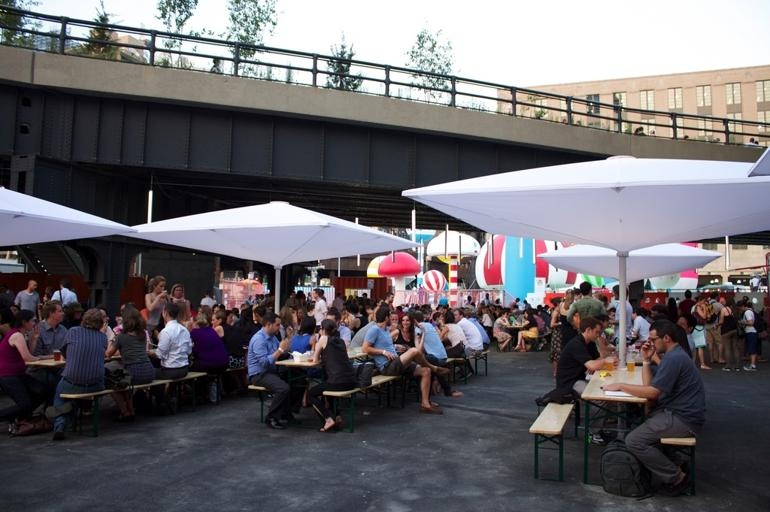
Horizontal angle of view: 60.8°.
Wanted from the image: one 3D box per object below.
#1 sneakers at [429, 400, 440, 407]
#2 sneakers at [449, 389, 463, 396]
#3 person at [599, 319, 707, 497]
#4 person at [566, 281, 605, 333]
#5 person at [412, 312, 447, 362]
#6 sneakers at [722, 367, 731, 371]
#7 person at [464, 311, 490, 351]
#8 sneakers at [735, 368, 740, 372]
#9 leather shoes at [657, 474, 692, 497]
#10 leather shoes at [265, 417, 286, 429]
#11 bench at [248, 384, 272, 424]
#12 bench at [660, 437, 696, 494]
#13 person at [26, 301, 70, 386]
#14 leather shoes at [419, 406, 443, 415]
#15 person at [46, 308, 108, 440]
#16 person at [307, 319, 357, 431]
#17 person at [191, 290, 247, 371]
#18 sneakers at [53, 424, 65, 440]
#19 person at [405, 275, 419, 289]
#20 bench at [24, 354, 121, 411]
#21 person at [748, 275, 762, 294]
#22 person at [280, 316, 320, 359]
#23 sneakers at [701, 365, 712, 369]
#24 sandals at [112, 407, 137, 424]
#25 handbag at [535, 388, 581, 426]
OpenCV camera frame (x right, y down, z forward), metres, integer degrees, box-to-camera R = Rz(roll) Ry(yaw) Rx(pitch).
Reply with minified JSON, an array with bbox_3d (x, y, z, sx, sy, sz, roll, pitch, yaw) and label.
[{"bbox_3d":[1.211,3.646,16.183,0.283,0.204,0.095,-1,22,46],"label":"sneakers"},{"bbox_3d":[1.913,3.642,17.438,0.364,0.285,0.136,-6,1,23],"label":"sneakers"},{"bbox_3d":[4.809,2.556,11.324,1.349,2.867,0.588,1,4,6],"label":"person"},{"bbox_3d":[5.208,1.463,16.847,1.110,1.688,0.522,-13,29,-4],"label":"person"},{"bbox_3d":[1.112,2.132,16.784,0.385,1.269,0.925,-23,-5,26],"label":"person"},{"bbox_3d":[11.552,3.828,22.156,0.123,0.087,0.320,-5,-7,2],"label":"sneakers"},{"bbox_3d":[2.557,2.155,19.660,0.816,1.150,0.951,4,14,-5],"label":"person"},{"bbox_3d":[11.876,3.832,22.101,0.110,0.124,0.299,-6,-15,26],"label":"sneakers"},{"bbox_3d":[5.002,3.940,11.282,0.601,0.268,0.270,3,-9,-22],"label":"leather shoes"},{"bbox_3d":[-2.374,3.594,14.148,0.414,0.166,0.205,5,-3,22],"label":"leather shoes"},{"bbox_3d":[-2.879,3.413,15.082,0.759,0.741,0.544,-1,-16,9],"label":"bench"},{"bbox_3d":[5.032,3.631,11.288,0.773,0.752,0.618,-4,-19,13],"label":"bench"},{"bbox_3d":[-7.281,1.893,14.463,1.103,1.794,0.918,6,2,15],"label":"person"},{"bbox_3d":[1.082,3.641,15.514,0.527,0.211,0.194,-1,-6,8],"label":"leather shoes"},{"bbox_3d":[-6.211,2.387,13.311,1.019,2.571,0.453,-2,4,-25],"label":"person"},{"bbox_3d":[-1.139,2.539,14.047,1.022,2.347,0.535,0,4,4],"label":"person"},{"bbox_3d":[-4.120,2.028,16.075,0.761,1.586,1.373,1,4,17],"label":"person"},{"bbox_3d":[-6.578,3.504,13.185,0.234,0.365,0.206,-1,4,-20],"label":"sneakers"},{"bbox_3d":[2.518,2.587,62.347,1.389,1.331,0.946,1,-10,-6],"label":"person"},{"bbox_3d":[-6.675,2.426,13.854,1.626,0.791,1.084,-4,-12,19],"label":"bench"},{"bbox_3d":[27.420,2.065,48.540,0.598,1.426,0.789,2,-35,26],"label":"person"},{"bbox_3d":[-1.846,1.815,14.921,0.710,0.925,0.518,20,29,26],"label":"person"},{"bbox_3d":[10.800,3.730,22.117,0.144,0.174,0.426,-1,-6,-42],"label":"sneakers"},{"bbox_3d":[-5.790,3.556,14.558,0.223,0.243,0.621,4,-11,-34],"label":"sandals"},{"bbox_3d":[3.470,3.011,13.016,0.827,0.840,0.693,-12,-21,31],"label":"handbag"}]
